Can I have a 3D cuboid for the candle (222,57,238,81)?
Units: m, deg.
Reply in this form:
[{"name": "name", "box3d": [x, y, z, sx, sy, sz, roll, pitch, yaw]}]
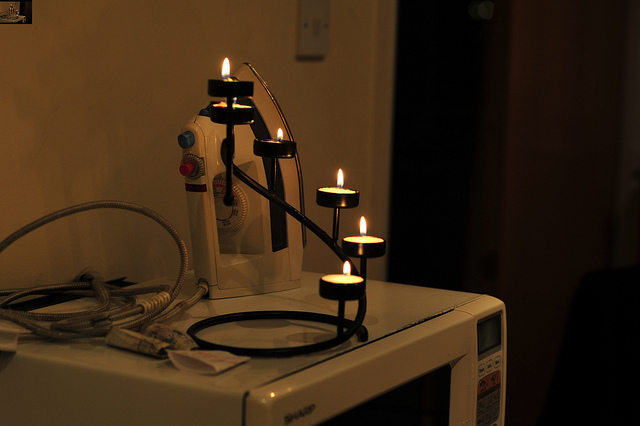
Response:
[{"name": "candle", "box3d": [-0.161, -0.253, 1.146, 0.041, 0.051, 0.044, 0, 1, -1]}]
